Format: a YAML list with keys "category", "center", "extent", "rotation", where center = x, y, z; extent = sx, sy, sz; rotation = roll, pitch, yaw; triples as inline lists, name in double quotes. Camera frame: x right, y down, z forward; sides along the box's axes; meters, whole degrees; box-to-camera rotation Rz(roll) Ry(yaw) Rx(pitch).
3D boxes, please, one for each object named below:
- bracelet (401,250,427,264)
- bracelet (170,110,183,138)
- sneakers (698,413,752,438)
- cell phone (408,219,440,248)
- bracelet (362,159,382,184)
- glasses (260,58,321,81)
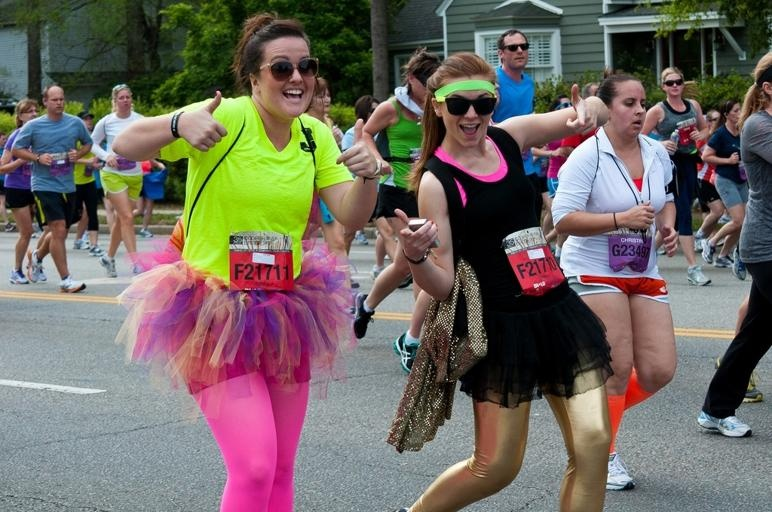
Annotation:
- category: "bracelet"
  center: [0.148, 0.007, 4.012]
  extent: [0.102, 0.063, 0.060]
  rotation: [-2, 11, -4]
- category: "bracelet"
  center: [-0.955, -0.599, 3.940]
  extent: [0.073, 0.124, 0.047]
  rotation: [8, 15, 41]
- category: "sneakers"
  center: [2.298, 1.131, 5.876]
  extent: [0.360, 0.170, 0.141]
  rotation: [3, 7, 24]
- category: "cell phone"
  center: [0.196, -0.102, 4.011]
  extent: [0.099, 0.158, 0.214]
  rotation: [5, 13, 29]
- category: "bracelet"
  center: [-0.075, -0.398, 4.148]
  extent: [0.094, 0.060, 0.114]
  rotation: [-19, -15, -46]
- category: "glasses"
  center: [-0.452, -0.902, 4.152]
  extent: [0.286, 0.108, 0.144]
  rotation: [-5, 12, -16]
